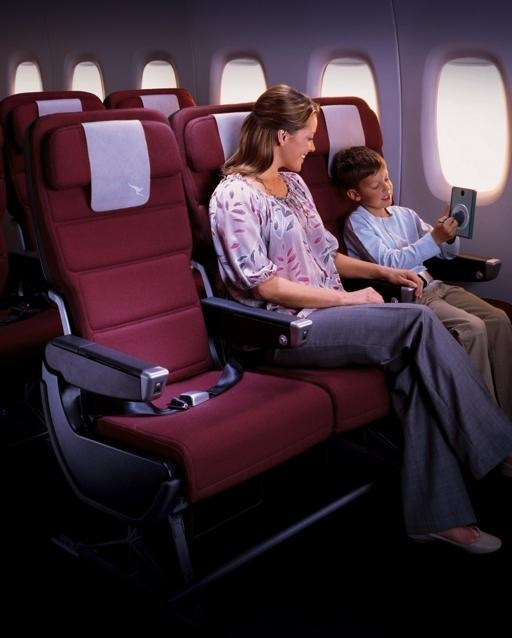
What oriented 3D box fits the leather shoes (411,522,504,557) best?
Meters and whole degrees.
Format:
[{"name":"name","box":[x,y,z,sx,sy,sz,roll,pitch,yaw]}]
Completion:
[{"name":"leather shoes","box":[0.412,0.475,1.152,0.226,0.059,0.069,-4,3,14]}]

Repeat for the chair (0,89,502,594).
[{"name":"chair","box":[0.046,0.065,1.444,1.030,1.153,0.983,-9,7,-44]}]
